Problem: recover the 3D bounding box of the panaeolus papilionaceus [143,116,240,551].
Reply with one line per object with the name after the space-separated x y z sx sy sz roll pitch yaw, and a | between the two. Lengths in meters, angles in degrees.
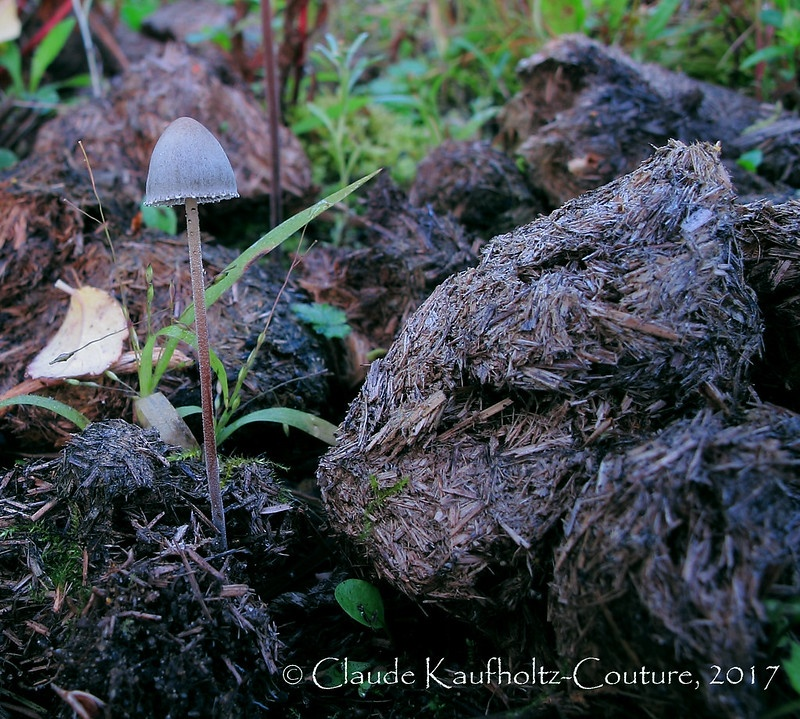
-0.499 -0.076 2.035 0.233 1.024 0.243 -2 9 -3 | panaeolus papilionaceus
